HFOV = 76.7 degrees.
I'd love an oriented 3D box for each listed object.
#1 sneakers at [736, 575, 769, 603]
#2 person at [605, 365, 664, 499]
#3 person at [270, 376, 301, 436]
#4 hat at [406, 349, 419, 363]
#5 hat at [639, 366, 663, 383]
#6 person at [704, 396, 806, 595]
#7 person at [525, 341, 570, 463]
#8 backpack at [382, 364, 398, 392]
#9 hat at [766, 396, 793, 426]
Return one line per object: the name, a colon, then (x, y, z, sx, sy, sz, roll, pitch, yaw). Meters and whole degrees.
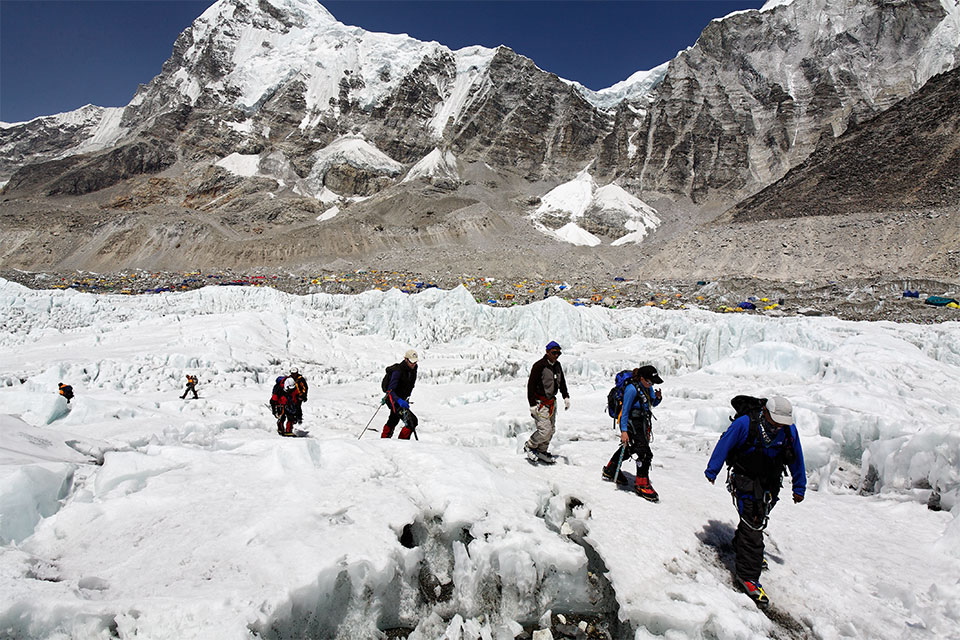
sneakers: (4.421, 4.378, 9.993, 0.225, 0.243, 0.570, 46, -11, -25)
person: (2.990, 2.056, 11.502, 0.940, 2.443, 1.113, 2, 13, -6)
person: (-4.571, 2.066, 14.422, 0.695, 1.445, 0.957, -4, 15, -26)
hat: (-1.493, 0.810, 13.347, 0.245, 0.351, 0.411, 4, 13, 3)
hat: (3.212, 1.033, 11.430, 0.445, 0.217, 0.316, 24, 14, 13)
person: (4.541, 2.816, 10.007, 1.365, 3.225, 1.028, 11, 15, 29)
person: (1.386, 1.653, 12.520, 0.810, 2.604, 1.007, 4, 13, 5)
backpack: (-1.972, 1.285, 13.360, 0.443, 0.555, 0.225, 19, -5, 4)
hat: (4.852, 1.457, 9.734, 0.375, 0.250, 0.491, -1, 36, 2)
